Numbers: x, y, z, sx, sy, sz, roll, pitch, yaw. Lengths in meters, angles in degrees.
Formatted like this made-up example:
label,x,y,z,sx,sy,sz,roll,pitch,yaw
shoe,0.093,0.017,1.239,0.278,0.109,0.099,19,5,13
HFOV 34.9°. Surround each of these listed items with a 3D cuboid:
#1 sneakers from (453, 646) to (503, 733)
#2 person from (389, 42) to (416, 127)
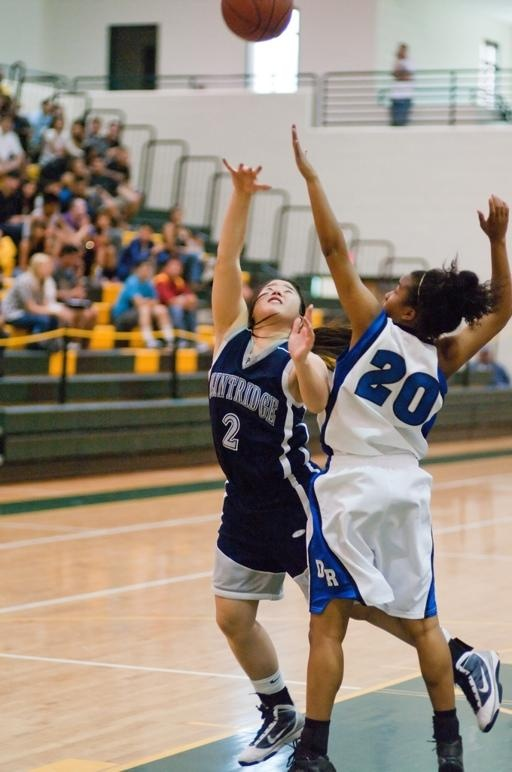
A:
label,x,y,z,sx,sy,sz,roll,pitch,yaw
sneakers,0.588,0.761,2.076,0.121,0.248,0.089,-13,10,2
person,2.440,-4.968,13.467,0.377,1.187,0.473,2,-1,8
